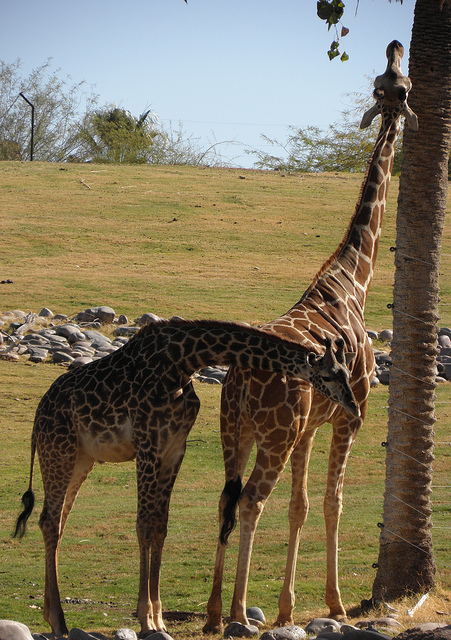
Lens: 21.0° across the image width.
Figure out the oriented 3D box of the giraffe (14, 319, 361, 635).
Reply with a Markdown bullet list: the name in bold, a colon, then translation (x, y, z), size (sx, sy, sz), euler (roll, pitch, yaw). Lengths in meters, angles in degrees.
- **giraffe**: translation (-0.619, 1.346, 10.524), size (2.673, 2.683, 0.948), euler (4, 8, 16)
